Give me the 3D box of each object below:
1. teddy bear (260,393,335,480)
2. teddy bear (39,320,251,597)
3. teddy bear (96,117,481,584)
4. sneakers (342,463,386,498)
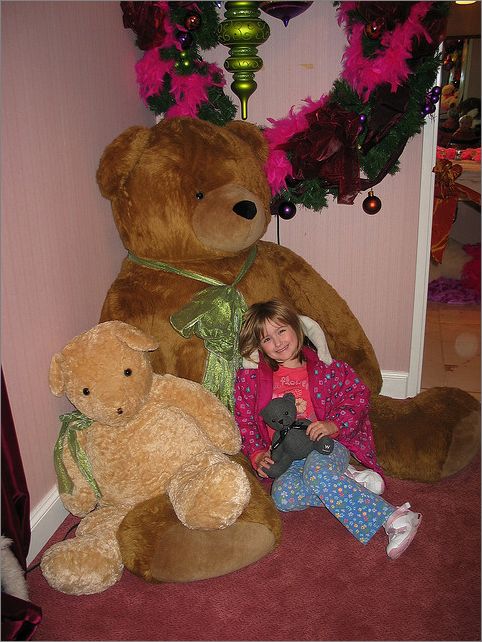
[{"bbox_3d":[0.149,0.365,1.733,0.234,0.216,0.203,-29,-1,1],"label":"teddy bear"},{"bbox_3d":[-0.318,0.338,1.511,0.630,0.533,0.509,-24,26,-18],"label":"teddy bear"},{"bbox_3d":[0.133,0.076,1.848,1.326,1.143,1.123,-25,33,-27],"label":"teddy bear"},{"bbox_3d":[0.434,0.524,1.847,0.169,0.061,0.096,25,-1,21],"label":"sneakers"}]
